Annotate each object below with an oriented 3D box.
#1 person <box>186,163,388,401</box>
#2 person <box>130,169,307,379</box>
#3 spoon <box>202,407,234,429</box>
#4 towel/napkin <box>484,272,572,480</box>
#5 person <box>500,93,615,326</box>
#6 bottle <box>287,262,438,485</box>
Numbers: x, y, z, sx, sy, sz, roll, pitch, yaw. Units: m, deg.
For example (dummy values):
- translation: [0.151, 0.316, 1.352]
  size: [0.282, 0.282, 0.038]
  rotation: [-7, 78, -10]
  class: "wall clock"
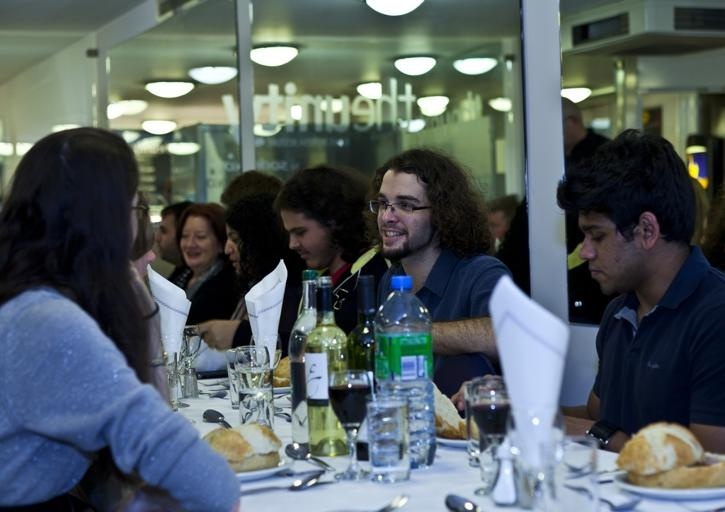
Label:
- translation: [-0.450, 0.064, 3.727]
  size: [0.792, 1.283, 0.884]
  rotation: [3, -2, -15]
  class: "person"
- translation: [-0.924, -0.035, 4.501]
  size: [0.982, 1.050, 0.383]
  rotation: [20, -3, -17]
  class: "person"
- translation: [-0.446, 0.485, 2.195]
  size: [0.040, 0.035, 0.152]
  rotation: [12, 0, -27]
  class: "spoon"
- translation: [0.281, 0.198, 1.196]
  size: [0.121, 0.331, 0.056]
  rotation: [-3, 3, 10]
  class: "towel/napkin"
- translation: [0.810, -0.173, 3.277]
  size: [0.200, 0.841, 0.878]
  rotation: [-1, 42, 20]
  class: "person"
- translation: [0.009, 0.313, 1.842]
  size: [0.411, 0.638, 0.235]
  rotation: [-2, -9, 10]
  class: "bottle"
